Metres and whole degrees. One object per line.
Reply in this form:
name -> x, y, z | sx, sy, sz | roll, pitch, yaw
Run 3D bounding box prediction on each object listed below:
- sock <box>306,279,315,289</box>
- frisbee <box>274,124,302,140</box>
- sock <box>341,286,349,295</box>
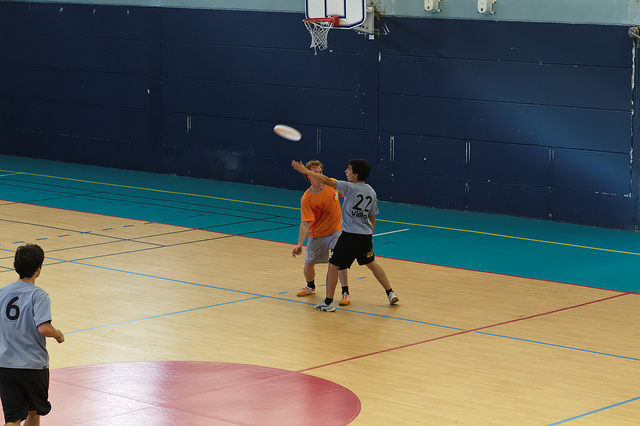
sock -> -0.145, 1.067, 9.530 | 0.106, 0.123, 0.073 | -3, 13, -16
frisbee -> -0.501, -1.251, 9.944 | 0.374, 0.208, 0.509 | 2, 12, 4
sock -> 0.362, 1.110, 9.259 | 0.091, 0.135, 0.221 | 1, 12, -1
